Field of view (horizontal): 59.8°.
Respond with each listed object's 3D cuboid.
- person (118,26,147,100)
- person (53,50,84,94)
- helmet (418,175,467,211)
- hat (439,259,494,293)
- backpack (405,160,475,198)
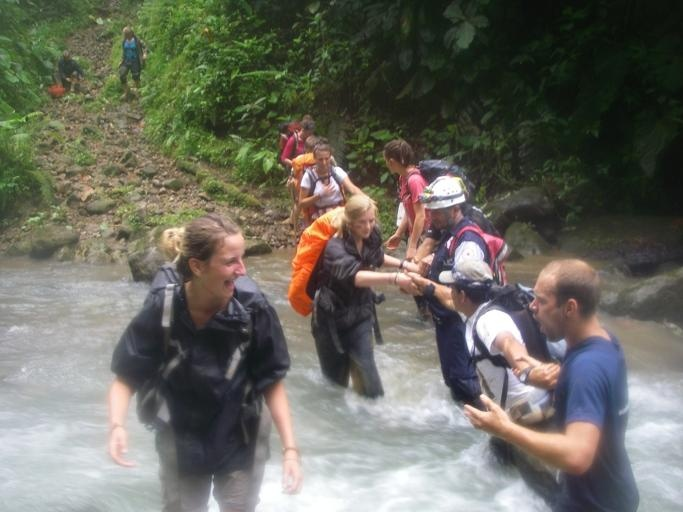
[{"bbox_3d":[-6.828,-6.357,19.487,0.806,2.083,1.535,1,5,-20],"label":"person"},{"bbox_3d":[-9.278,-6.327,20.440,0.799,1.353,1.004,0,5,-26],"label":"person"},{"bbox_3d":[1.103,-0.691,6.500,0.434,0.331,0.328,-8,8,-21],"label":"helmet"},{"bbox_3d":[1.137,0.175,5.370,0.354,0.187,0.259,3,4,36],"label":"hat"},{"bbox_3d":[1.142,-1.101,7.731,0.570,0.227,0.452,-11,-26,-24],"label":"backpack"}]
